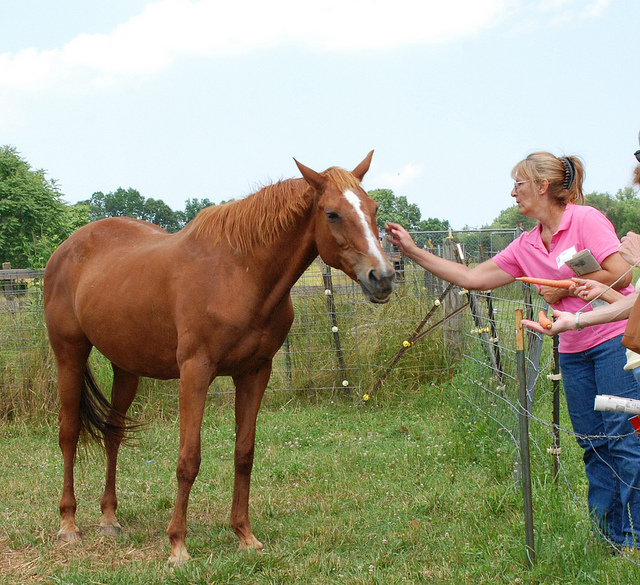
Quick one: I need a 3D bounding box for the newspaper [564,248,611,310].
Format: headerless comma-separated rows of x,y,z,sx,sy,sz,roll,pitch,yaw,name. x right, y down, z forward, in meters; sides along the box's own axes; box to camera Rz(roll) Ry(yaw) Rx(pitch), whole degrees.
1.688,-0.105,4.175,0.310,0.331,0.077,-27,-1,33,newspaper

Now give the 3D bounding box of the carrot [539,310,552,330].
1.335,0.164,3.924,0.044,0.045,0.161,-9,20,6,carrot

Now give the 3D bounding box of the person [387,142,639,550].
1.664,0.389,4.625,1.003,2.717,1.397,-4,2,-24,person

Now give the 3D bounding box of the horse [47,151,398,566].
-1.039,0.701,5.547,3.857,3.078,1.119,-3,0,34,horse
